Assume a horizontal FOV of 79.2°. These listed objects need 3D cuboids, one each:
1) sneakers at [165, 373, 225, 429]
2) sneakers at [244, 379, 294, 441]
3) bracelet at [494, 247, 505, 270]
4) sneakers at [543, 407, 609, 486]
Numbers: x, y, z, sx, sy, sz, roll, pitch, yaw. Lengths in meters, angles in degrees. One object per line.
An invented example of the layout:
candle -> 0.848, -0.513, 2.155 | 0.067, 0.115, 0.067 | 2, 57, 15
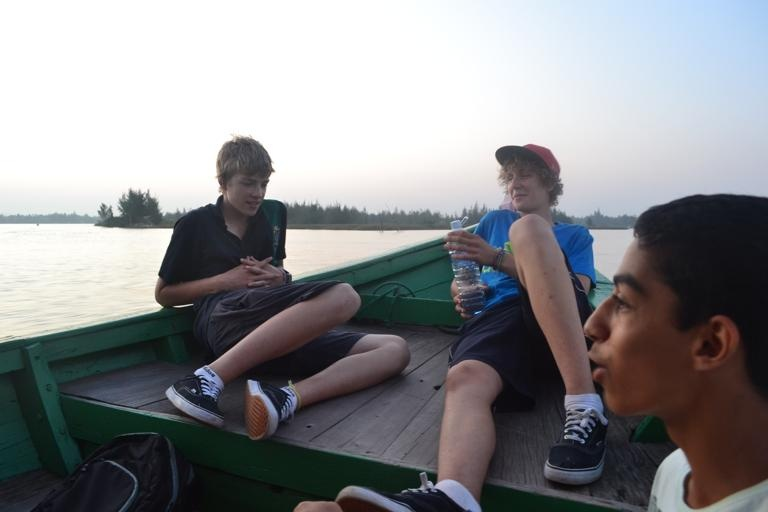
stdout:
sneakers -> -0.780, 0.595, 1.943 | 0.269, 0.148, 0.134 | 3, 13, 17
sneakers -> -0.466, 0.601, 1.891 | 0.166, 0.197, 0.267 | 2, 13, 15
bracelet -> 0.561, 0.019, 2.273 | 0.037, 0.080, 0.077 | 12, -12, 2
sneakers -> 0.671, 0.655, 1.615 | 0.131, 0.139, 0.316 | -3, -2, 24
